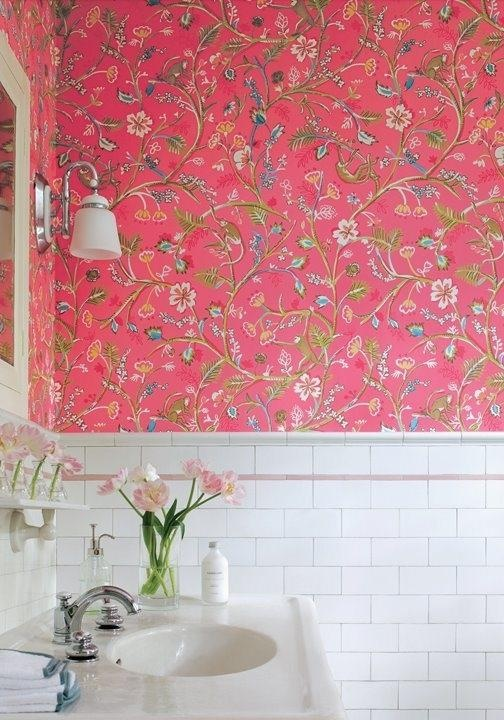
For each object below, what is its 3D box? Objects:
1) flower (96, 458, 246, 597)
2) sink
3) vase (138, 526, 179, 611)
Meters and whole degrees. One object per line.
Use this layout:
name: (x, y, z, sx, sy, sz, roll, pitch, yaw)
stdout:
flower: (-0.254, 0.430, 1.946, 0.429, 0.385, 0.389, 2, -8, -13)
sink: (-0.132, 0.652, 1.522, 0.349, 0.105, 0.249, 0, -12, -8)
vase: (-0.240, 0.561, 1.882, 0.139, 0.207, 0.111, 5, -15, -29)
